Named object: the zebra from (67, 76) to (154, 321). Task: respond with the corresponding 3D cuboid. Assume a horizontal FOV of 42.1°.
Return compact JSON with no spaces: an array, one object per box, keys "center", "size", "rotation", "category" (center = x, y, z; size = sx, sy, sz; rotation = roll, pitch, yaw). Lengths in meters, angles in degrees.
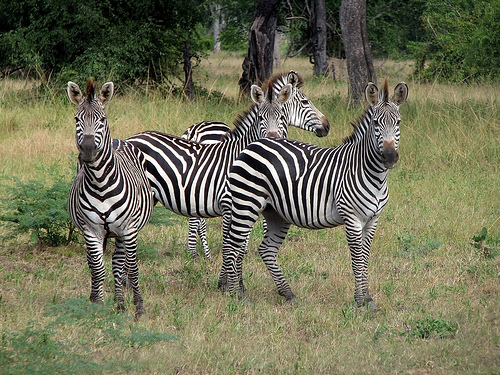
[{"center":[-1.875,0.160,8.804],"size":[1.056,3.215,0.932],"rotation":[-5,13,-22],"category":"zebra"}]
